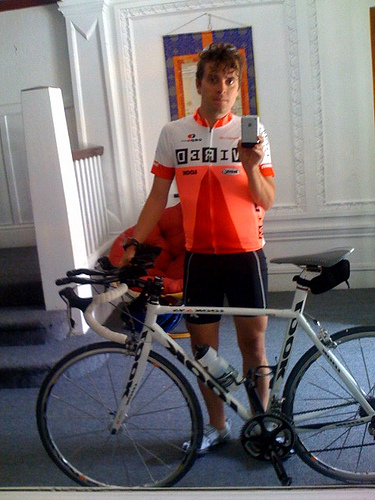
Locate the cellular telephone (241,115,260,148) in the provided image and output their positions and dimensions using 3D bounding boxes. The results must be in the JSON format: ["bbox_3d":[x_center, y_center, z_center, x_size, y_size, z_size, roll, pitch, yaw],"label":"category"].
[{"bbox_3d":[0.178,-0.337,1.297,0.056,0.091,0.075,-5,13,7],"label":"cellular telephone"}]

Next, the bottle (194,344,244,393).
[{"bbox_3d":[0.078,0.349,1.371,0.065,0.225,0.084,-43,28,8],"label":"bottle"}]
